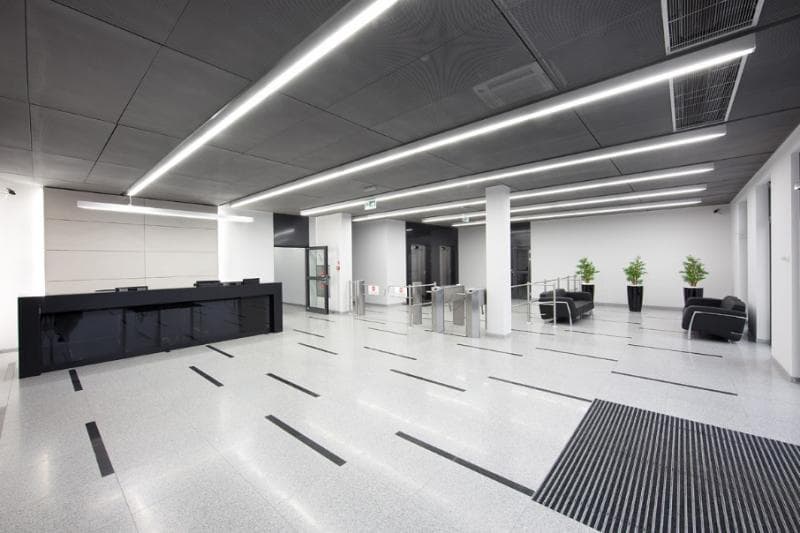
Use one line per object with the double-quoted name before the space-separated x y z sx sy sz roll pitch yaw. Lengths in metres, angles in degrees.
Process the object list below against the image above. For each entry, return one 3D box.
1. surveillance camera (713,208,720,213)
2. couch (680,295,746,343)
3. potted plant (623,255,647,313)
"surveillance camera" 9.604 -1.682 12.582 0.168 0.136 0.092 -2 -2 31
"couch" 6.794 1.138 9.056 0.986 0.759 1.593 -4 1 31
"potted plant" 7.568 0.535 13.325 0.553 1.761 1.162 -2 -2 30
